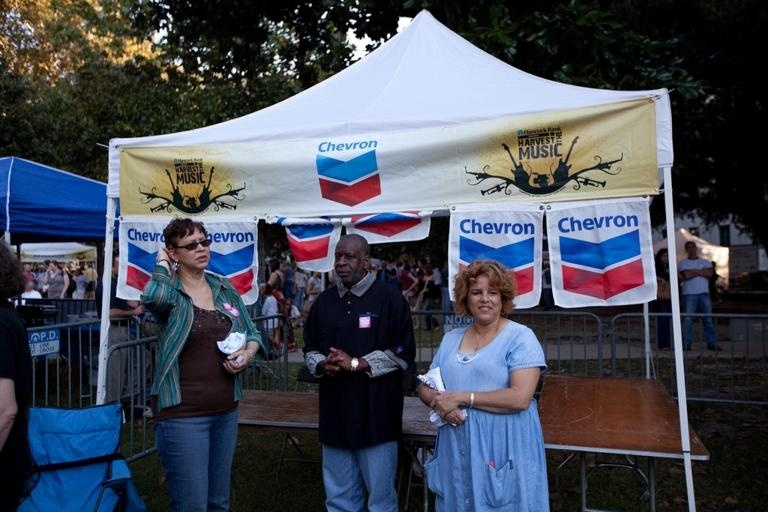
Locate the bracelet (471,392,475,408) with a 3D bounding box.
[{"bbox_3d":[0.822,1.336,6.341,0.051,0.136,0.038,-2,-2,22],"label":"bracelet"}]

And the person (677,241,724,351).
[{"bbox_3d":[6.583,0.842,14.276,0.739,2.270,0.494,0,-11,17],"label":"person"}]

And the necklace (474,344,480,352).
[{"bbox_3d":[0.879,0.880,6.485,0.019,0.032,0.078,7,18,14],"label":"necklace"}]
